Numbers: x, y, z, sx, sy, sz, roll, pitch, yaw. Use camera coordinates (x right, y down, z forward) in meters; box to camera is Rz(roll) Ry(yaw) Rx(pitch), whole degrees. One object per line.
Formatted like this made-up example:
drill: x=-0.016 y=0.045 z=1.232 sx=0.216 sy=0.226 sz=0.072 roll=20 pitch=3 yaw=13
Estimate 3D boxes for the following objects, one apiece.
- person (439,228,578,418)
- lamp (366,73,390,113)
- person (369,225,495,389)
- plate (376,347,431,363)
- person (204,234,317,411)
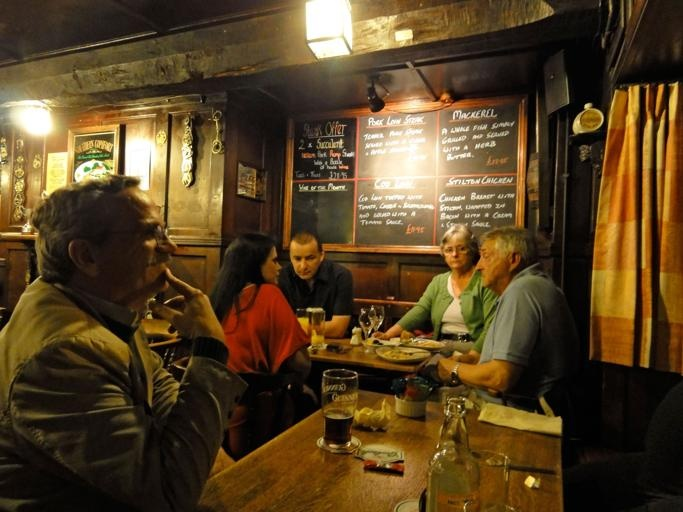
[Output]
person: x=1.022 y=0.399 z=3.358 sx=0.654 sy=1.119 sz=0.585 roll=5 pitch=6 yaw=43
lamp: x=0.353 y=-1.516 z=5.400 sx=0.192 sy=0.308 sz=0.638 roll=2 pitch=5 yaw=5
person: x=1.006 y=0.246 z=4.871 sx=0.925 sy=1.607 sz=1.058 roll=11 pitch=-10 yaw=-36
plate: x=0.411 y=0.664 z=3.771 sx=0.356 sy=0.054 sz=0.342 roll=3 pitch=5 yaw=14
person: x=-0.467 y=0.403 z=3.489 sx=0.584 sy=1.126 sz=0.590 roll=-4 pitch=21 yaw=-4
